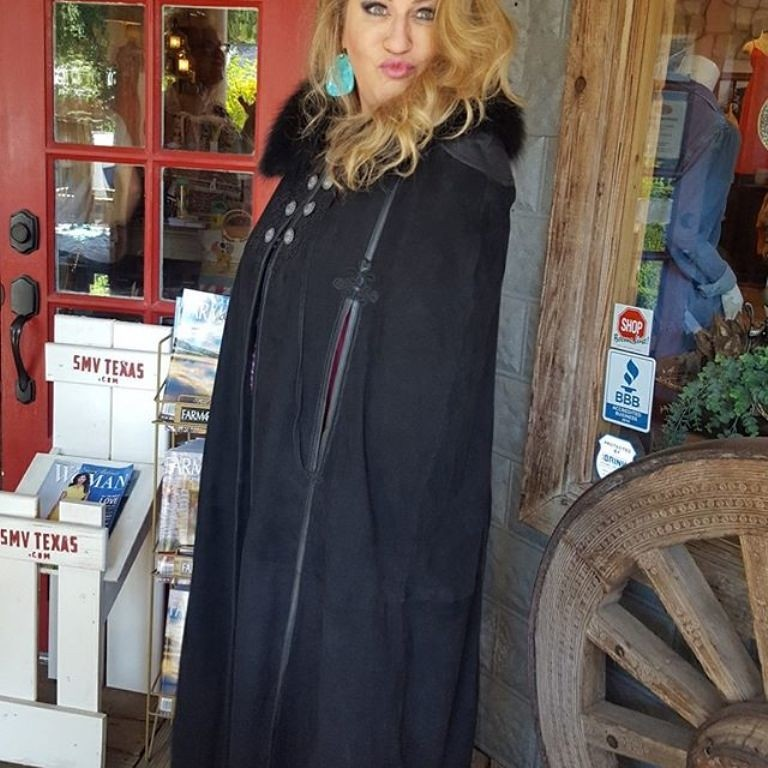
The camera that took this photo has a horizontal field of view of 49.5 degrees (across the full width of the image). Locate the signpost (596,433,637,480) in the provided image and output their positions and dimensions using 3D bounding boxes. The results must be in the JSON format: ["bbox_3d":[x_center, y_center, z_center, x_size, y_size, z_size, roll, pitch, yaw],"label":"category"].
[{"bbox_3d":[0.403,0.122,1.427,0.011,0.086,0.076,9,8,-31],"label":"signpost"}]

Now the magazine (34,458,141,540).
[{"bbox_3d":[-0.716,0.266,1.997,0.203,0.144,0.154,4,2,11],"label":"magazine"}]

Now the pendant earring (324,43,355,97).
[{"bbox_3d":[-0.080,-0.549,1.437,0.052,0.067,0.021,5,12,18],"label":"pendant earring"}]

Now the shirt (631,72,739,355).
[{"bbox_3d":[0.511,-0.271,1.365,0.069,0.375,0.189,3,2,-21],"label":"shirt"}]

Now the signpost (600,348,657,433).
[{"bbox_3d":[0.448,0.009,1.497,0.021,0.195,0.148,-3,6,-39],"label":"signpost"}]
